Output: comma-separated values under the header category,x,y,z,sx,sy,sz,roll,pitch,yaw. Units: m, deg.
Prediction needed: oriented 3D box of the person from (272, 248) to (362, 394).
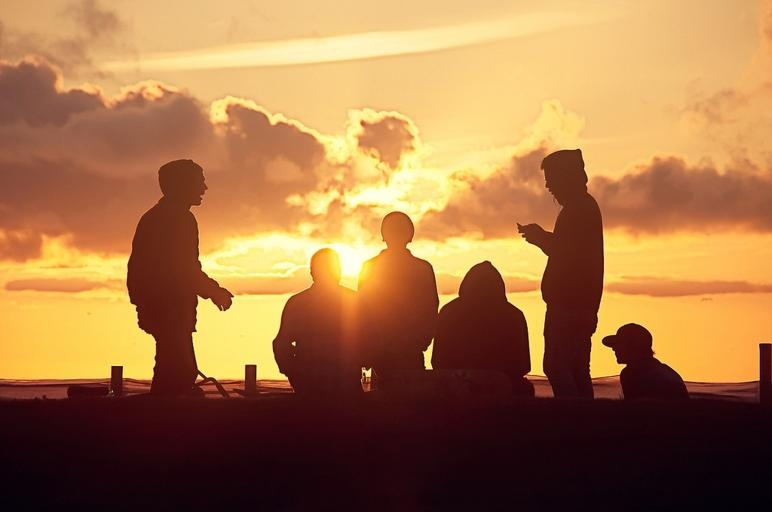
category,x,y,z,sx,sy,sz,roll,pitch,yaw
person,-1.040,0.994,27.706,1.337,2.212,0.500,1,-3,-1

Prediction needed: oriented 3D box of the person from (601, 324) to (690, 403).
category,x,y,z,sx,sy,sz,roll,pitch,yaw
person,4.165,1.686,28.970,0.627,1.179,1.180,3,-4,-39

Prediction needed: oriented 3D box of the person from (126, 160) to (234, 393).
category,x,y,z,sx,sy,sz,roll,pitch,yaw
person,-3.369,0.320,28.565,1.418,3.718,0.629,1,-3,-16

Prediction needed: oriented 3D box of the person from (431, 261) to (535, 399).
category,x,y,z,sx,sy,sz,roll,pitch,yaw
person,1.497,1.122,28.074,1.530,2.055,0.552,0,-3,2
